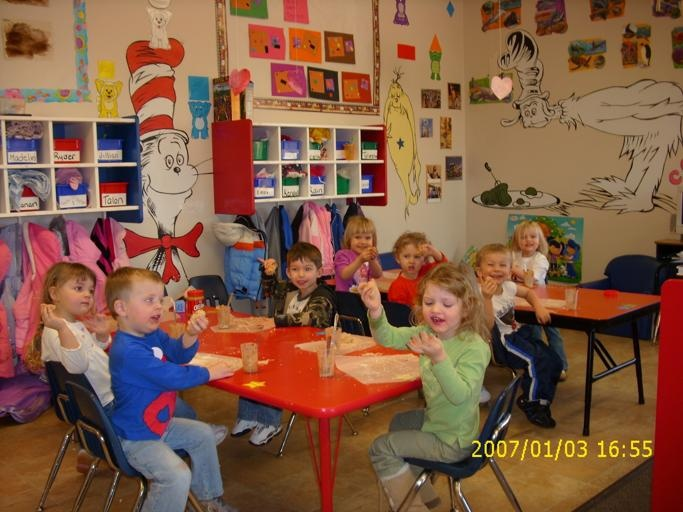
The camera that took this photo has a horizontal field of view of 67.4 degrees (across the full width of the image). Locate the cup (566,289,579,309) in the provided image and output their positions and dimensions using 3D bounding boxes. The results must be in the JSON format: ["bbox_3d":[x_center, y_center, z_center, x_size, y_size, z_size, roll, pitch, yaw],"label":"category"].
[{"bbox_3d":[1.623,0.297,3.634,0.075,0.137,0.074,-1,8,0],"label":"cup"}]

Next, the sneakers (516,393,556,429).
[{"bbox_3d":[1.408,1.117,3.694,0.149,0.114,0.239,-14,27,-42],"label":"sneakers"}]

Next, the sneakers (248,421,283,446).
[{"bbox_3d":[-0.487,1.199,3.489,0.100,0.137,0.266,2,0,44],"label":"sneakers"}]

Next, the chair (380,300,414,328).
[{"bbox_3d":[0.351,0.357,3.132,0.132,0.163,0.185,8,-9,23],"label":"chair"}]

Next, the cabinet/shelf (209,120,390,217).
[{"bbox_3d":[-0.089,-0.917,5.309,1.677,0.923,0.642,6,5,34],"label":"cabinet/shelf"}]

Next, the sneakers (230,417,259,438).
[{"bbox_3d":[-0.634,1.182,3.570,0.091,0.121,0.277,-1,-5,30],"label":"sneakers"}]
